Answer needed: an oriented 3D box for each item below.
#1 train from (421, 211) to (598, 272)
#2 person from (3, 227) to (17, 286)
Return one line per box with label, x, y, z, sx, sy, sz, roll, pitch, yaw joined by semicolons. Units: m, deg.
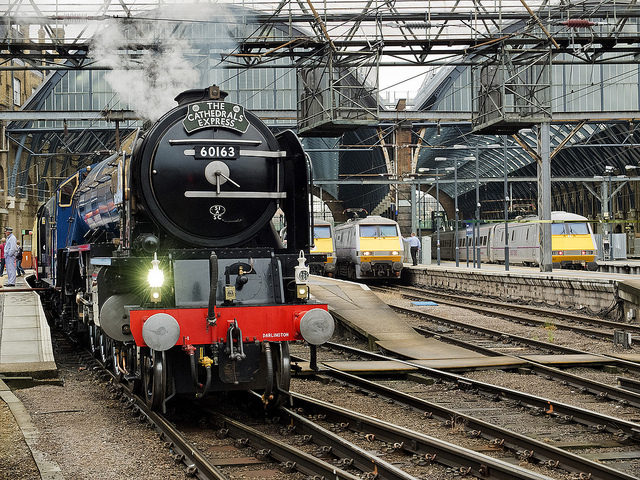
train;9.929;0.118;43.589;4.024;4.108;12.493;0;0;-8
person;-10.299;0.555;27.607;0.364;1.933;1.462;-1;-1;-21
